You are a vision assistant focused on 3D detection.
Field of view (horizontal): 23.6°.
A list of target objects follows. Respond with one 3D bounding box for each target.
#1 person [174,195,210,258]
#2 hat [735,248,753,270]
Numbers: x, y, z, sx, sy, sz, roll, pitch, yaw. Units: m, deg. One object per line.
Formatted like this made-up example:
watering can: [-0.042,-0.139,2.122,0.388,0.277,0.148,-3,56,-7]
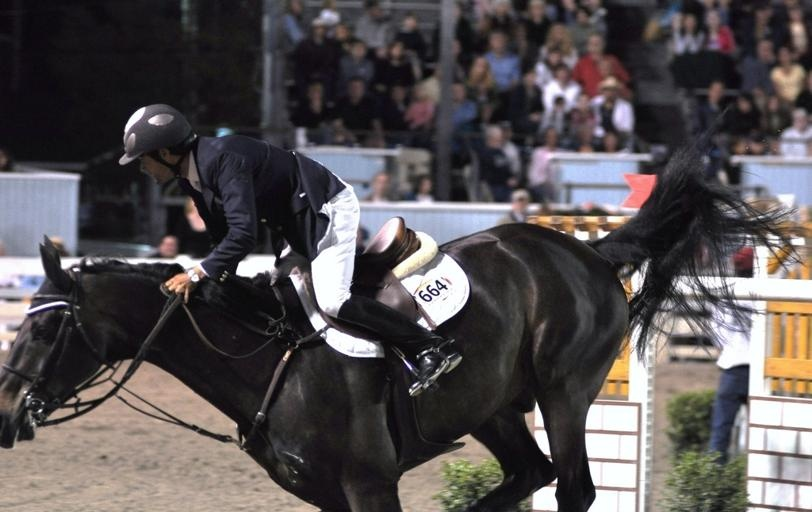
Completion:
person: [-2.907,-0.303,26.456,0.737,0.881,0.302,1,-16,6]
hat: [4.046,0.050,23.242,0.073,0.244,0.283,11,1,-9]
